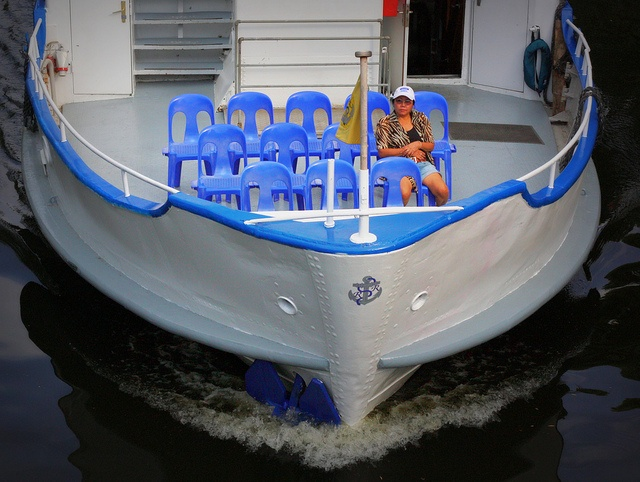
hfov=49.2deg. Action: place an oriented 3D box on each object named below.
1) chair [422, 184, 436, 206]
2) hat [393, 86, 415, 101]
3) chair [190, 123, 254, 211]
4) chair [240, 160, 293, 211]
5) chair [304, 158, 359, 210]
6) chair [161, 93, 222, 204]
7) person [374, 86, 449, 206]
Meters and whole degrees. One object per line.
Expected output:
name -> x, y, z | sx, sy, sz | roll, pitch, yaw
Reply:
chair -> 1.008, -0.413, 6.469 | 0.150, 0.186, 0.160 | 5, 46, 10
hat -> 0.798, -1.419, 6.616 | 0.179, 0.127, 0.292 | 5, 33, 12
chair -> -0.962, -0.747, 6.685 | 0.633, 1.040, 0.725 | -2, 36, -10
chair -> -0.399, -0.472, 6.055 | 0.356, 0.639, 0.458 | 0, 14, -3
chair -> 0.077, -0.552, 6.265 | 0.447, 0.658, 0.486 | 0, 29, -3
chair -> -1.343, -1.021, 7.347 | 0.582, 0.954, 0.628 | 7, 19, 20
person -> 0.702, -0.712, 6.179 | 0.714, 0.986, 0.768 | 3, 8, 32
